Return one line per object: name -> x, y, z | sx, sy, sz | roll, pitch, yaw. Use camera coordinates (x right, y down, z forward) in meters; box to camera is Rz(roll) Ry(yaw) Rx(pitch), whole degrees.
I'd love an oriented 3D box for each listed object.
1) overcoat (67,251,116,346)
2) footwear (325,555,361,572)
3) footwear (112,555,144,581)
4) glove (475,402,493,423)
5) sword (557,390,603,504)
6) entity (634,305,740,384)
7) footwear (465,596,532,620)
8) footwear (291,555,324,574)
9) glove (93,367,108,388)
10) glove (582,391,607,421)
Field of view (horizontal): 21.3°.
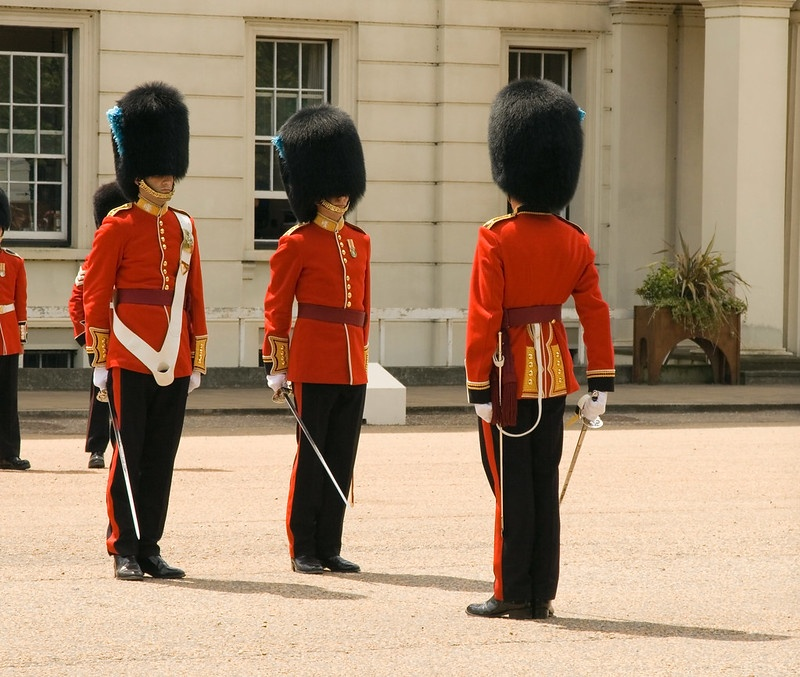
overcoat -> -2.225, -0.274, 15.117 | 0.536, 0.618, 0.246 | 1, -3, 7
footwear -> -0.357, 1.355, 12.904 | 0.237, 0.087, 0.083 | -2, -7, 18
footwear -> -1.600, 1.344, 12.672 | 0.176, 0.126, 0.149 | 0, 5, -5
glove -> 0.494, 0.413, 12.230 | 0.104, 0.164, 0.147 | -1, 1, 17
sword -> 1.032, 0.575, 12.192 | 0.162, 0.542, 0.055 | 28, -32, -12
entity -> 2.652, 0.056, 20.303 | 0.772, 0.525, 0.455 | 2, -4, -16
footwear -> 0.564, 1.499, 12.142 | 0.337, 0.133, 0.133 | 3, -3, 15
footwear -> -0.547, 1.344, 12.840 | 0.196, 0.084, 0.080 | -9, -11, 31
glove -> -1.803, 0.239, 12.908 | 0.074, 0.145, 0.228 | -1, 5, -15
glove -> 1.142, 0.397, 12.320 | 0.136, 0.163, 0.177 | 2, -4, -19
